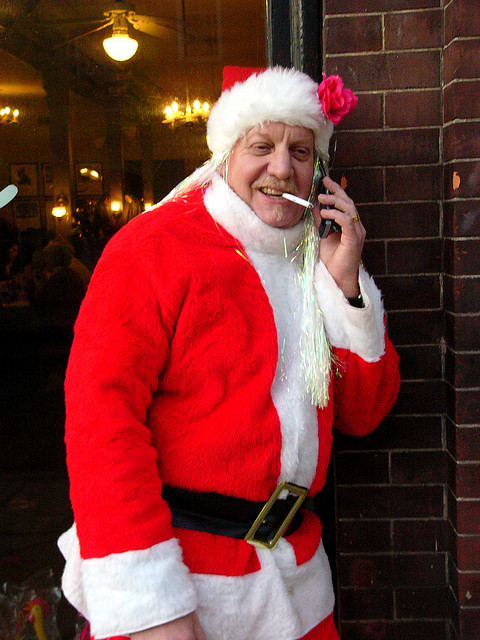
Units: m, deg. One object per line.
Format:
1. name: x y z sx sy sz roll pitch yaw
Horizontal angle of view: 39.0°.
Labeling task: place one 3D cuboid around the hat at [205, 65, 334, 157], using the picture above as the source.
1. hat: 0.066 -0.461 1.529 0.289 0.204 0.180 -8 8 0

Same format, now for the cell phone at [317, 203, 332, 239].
1. cell phone: 0.202 -0.265 1.618 0.029 0.137 0.033 4 -6 4

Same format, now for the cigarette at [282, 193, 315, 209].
1. cigarette: 0.126 -0.263 1.495 0.084 0.012 0.015 33 64 22

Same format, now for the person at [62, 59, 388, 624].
1. person: -0.022 0.070 1.461 0.839 1.234 0.309 -14 11 -38
